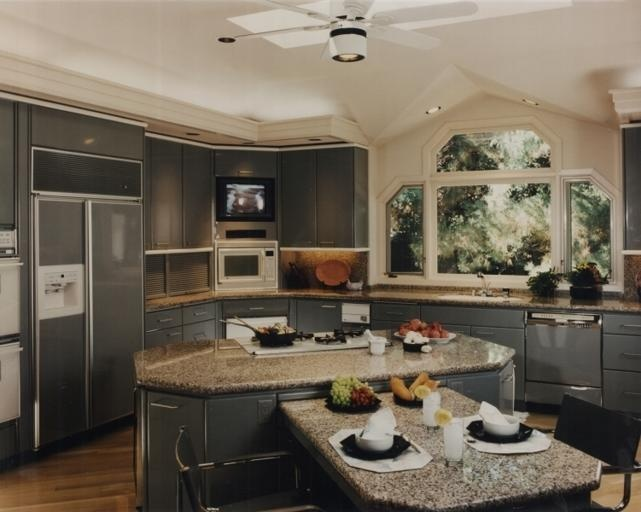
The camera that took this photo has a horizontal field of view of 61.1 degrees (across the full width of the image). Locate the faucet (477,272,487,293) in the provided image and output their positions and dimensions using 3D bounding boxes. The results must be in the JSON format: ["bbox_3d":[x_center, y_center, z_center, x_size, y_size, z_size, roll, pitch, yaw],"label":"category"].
[{"bbox_3d":[1.852,0.283,6.180,0.099,0.161,0.252,0,10,5],"label":"faucet"}]

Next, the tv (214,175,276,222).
[{"bbox_3d":[-0.897,-0.669,6.401,0.920,0.599,0.478,0,-3,-18],"label":"tv"}]

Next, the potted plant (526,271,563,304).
[{"bbox_3d":[2.322,0.315,5.659,0.315,0.301,0.330,3,5,35],"label":"potted plant"}]

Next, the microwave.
[{"bbox_3d":[-0.906,0.112,6.532,0.905,0.626,0.552,0,-2,-13],"label":"microwave"}]

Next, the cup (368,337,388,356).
[{"bbox_3d":[0.375,0.587,3.546,0.106,0.073,0.103,0,-3,0],"label":"cup"}]

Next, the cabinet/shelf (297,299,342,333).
[{"bbox_3d":[-0.001,0.635,6.179,0.599,0.528,0.345,0,-4,22],"label":"cabinet/shelf"}]

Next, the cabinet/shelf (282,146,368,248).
[{"bbox_3d":[0.077,-0.708,6.272,1.271,1.361,0.554,0,0,19],"label":"cabinet/shelf"}]

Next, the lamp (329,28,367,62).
[{"bbox_3d":[0.159,-1.258,3.209,0.219,0.164,0.188,3,10,18],"label":"lamp"}]

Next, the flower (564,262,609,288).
[{"bbox_3d":[2.755,0.194,5.606,0.278,0.218,0.339,0,-2,27],"label":"flower"}]

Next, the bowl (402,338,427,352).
[{"bbox_3d":[0.629,0.599,3.619,0.158,0.071,0.115,1,10,7],"label":"bowl"}]

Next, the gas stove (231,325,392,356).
[{"bbox_3d":[-0.091,0.586,3.799,0.942,0.122,0.531,-3,10,-18],"label":"gas stove"}]

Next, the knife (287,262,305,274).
[{"bbox_3d":[-0.319,0.146,6.767,0.163,0.142,0.042,8,-9,-27],"label":"knife"}]

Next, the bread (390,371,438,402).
[{"bbox_3d":[0.499,0.669,2.911,0.183,0.074,0.181,0,8,22],"label":"bread"}]

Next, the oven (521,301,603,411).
[{"bbox_3d":[2.309,1.019,5.371,0.806,0.918,0.793,0,-9,21],"label":"oven"}]
